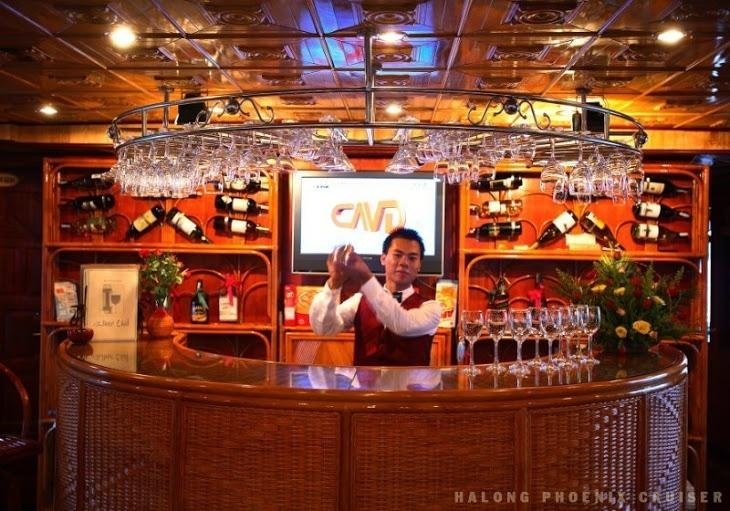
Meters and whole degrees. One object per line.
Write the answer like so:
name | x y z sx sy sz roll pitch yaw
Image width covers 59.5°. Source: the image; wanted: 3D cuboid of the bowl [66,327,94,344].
bowl | -1.884 0.522 4.209 0.152 0.109 0.143 0 0 0

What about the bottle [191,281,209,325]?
bottle | -1.556 0.415 5.988 0.164 0.394 0.316 0 0 -15

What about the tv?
tv | 0.024 -0.323 5.610 1.187 0.667 0.111 0 3 0

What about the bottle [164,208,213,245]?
bottle | -1.700 -0.296 5.988 0.362 0.318 0.149 0 0 -12

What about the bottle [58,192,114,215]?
bottle | -2.620 -0.498 5.987 0.479 0.156 0.141 0 0 0

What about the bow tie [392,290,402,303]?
bow tie | 0.228 0.276 4.409 0.075 0.070 0.067 -3 -5 15

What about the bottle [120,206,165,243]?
bottle | -2.077 -0.327 6.013 0.354 0.311 0.127 0 0 -16

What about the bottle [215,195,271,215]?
bottle | -1.092 -0.493 6.013 0.627 0.169 0.175 2 43 9

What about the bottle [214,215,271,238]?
bottle | -1.173 -0.286 5.996 0.575 0.204 0.136 0 0 3
